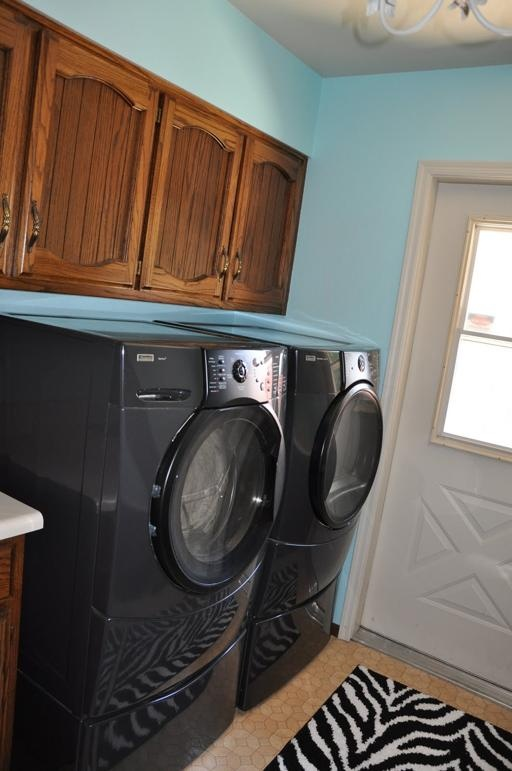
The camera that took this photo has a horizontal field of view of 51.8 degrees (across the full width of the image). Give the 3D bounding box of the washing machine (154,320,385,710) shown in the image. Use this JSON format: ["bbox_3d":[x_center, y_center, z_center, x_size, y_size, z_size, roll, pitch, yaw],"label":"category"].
[{"bbox_3d":[0.028,0.387,2.137,0.883,1.233,0.802,16,12,34],"label":"washing machine"}]
